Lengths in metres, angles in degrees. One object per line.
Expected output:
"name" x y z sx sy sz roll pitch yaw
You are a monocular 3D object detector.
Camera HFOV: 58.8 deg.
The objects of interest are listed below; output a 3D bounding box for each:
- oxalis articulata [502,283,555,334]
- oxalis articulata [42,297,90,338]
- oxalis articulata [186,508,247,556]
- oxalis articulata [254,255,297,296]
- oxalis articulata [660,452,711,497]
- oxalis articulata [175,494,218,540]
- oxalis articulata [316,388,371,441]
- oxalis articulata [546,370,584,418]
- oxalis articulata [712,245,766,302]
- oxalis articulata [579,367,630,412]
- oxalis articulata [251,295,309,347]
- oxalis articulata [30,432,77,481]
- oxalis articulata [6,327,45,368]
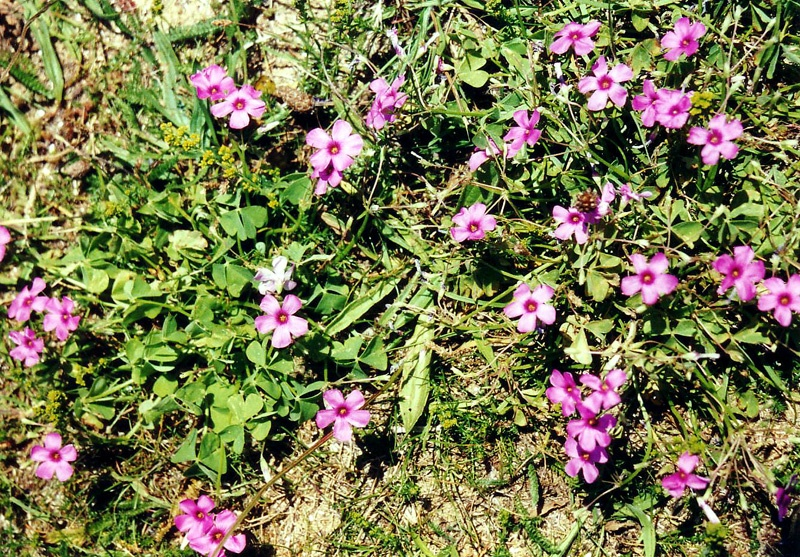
"oxalis articulata" 0.731 0.161 4.031 0.267 0.140 0.262 1 71 -5
"oxalis articulata" -2.105 0.261 4.525 0.243 0.109 0.237 40 88 10
"oxalis articulata" -1.087 1.510 4.230 0.282 0.116 0.291 -34 82 -5
"oxalis articulata" -0.736 0.001 4.224 0.245 0.196 0.181 -24 74 -13
"oxalis articulata" 1.599 1.065 3.955 0.219 0.087 0.322 8 108 0
"oxalis articulata" -1.177 1.399 4.211 0.221 0.237 0.186 14 110 22
"oxalis articulata" -0.319 0.771 4.100 0.285 0.123 0.278 23 71 3
"oxalis articulata" 0.923 0.628 3.973 0.095 0.245 0.269 18 38 -20
"oxalis articulata" 1.815 -0.033 3.812 0.115 0.294 0.363 52 50 -15
"oxalis articulata" 1.118 0.597 3.897 0.266 0.324 0.099 -5 25 26
"oxalis articulata" -0.698 0.249 4.147 0.283 0.218 0.297 -21 74 -12
"oxalis articulata" -2.133 1.092 4.398 0.257 0.082 0.329 0 105 -14
"oxalis articulata" -2.341 0.418 4.512 0.210 0.133 0.279 -16 87 11
